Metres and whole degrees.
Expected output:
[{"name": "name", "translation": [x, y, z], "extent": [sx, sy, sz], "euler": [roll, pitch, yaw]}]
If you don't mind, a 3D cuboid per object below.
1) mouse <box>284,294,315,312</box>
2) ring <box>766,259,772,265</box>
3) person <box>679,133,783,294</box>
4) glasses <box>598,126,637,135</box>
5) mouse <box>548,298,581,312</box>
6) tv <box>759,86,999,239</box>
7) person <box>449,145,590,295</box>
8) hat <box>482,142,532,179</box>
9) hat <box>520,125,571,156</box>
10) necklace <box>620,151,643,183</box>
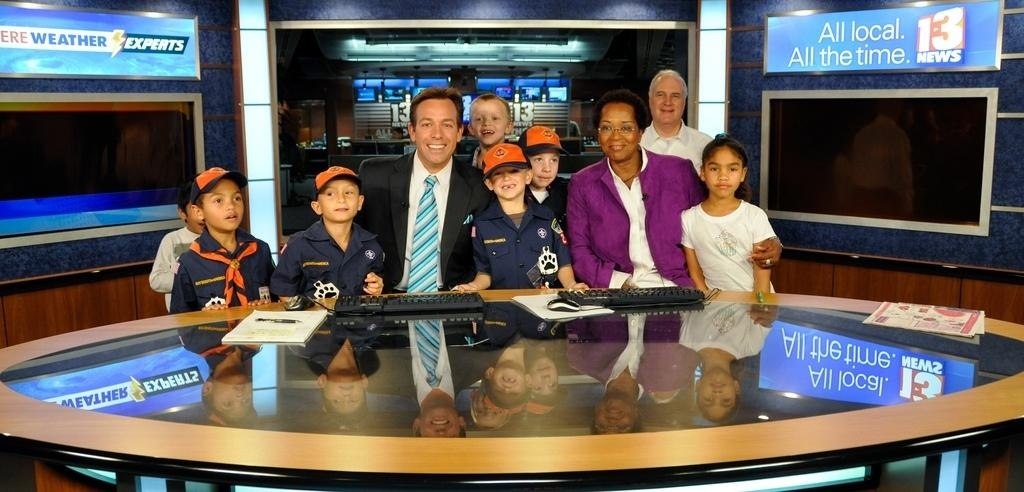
[{"name": "mouse", "translation": [-1.305, 0.366, 4.171], "extent": [0.096, 0.052, 0.145], "euler": [1, -1, 21]}, {"name": "ring", "translation": [1.784, 0.116, 4.662], "extent": [0.046, 0.028, 0.034], "euler": [4, 8, 22]}, {"name": "person", "translation": [1.611, -0.207, 4.896], "extent": [0.632, 1.096, 0.786], "euler": [-2, 15, -6]}, {"name": "glasses", "translation": [0.786, -0.851, 5.028], "extent": [0.260, 0.051, 0.051], "euler": [1, 15, 7]}, {"name": "mouse", "translation": [0.308, 0.359, 4.084], "extent": [0.164, 0.040, 0.078], "euler": [-2, 7, -6]}, {"name": "tv", "translation": [3.570, -0.794, 6.390], "extent": [1.835, 0.984, 0.073], "euler": [5, 8, 31]}, {"name": "person", "translation": [0.071, -0.184, 4.819], "extent": [0.746, 1.022, 0.548], "euler": [3, 16, 12]}, {"name": "hat", "translation": [-0.041, -0.630, 5.003], "extent": [0.250, 0.157, 0.305], "euler": [-17, -8, 7]}, {"name": "hat", "translation": [0.192, -0.807, 5.298], "extent": [0.262, 0.150, 0.329], "euler": [-5, 9, -30]}, {"name": "necklace", "translation": [0.919, -0.586, 5.112], "extent": [0.217, 0.150, 0.249], "euler": [-6, 10, 15]}]
